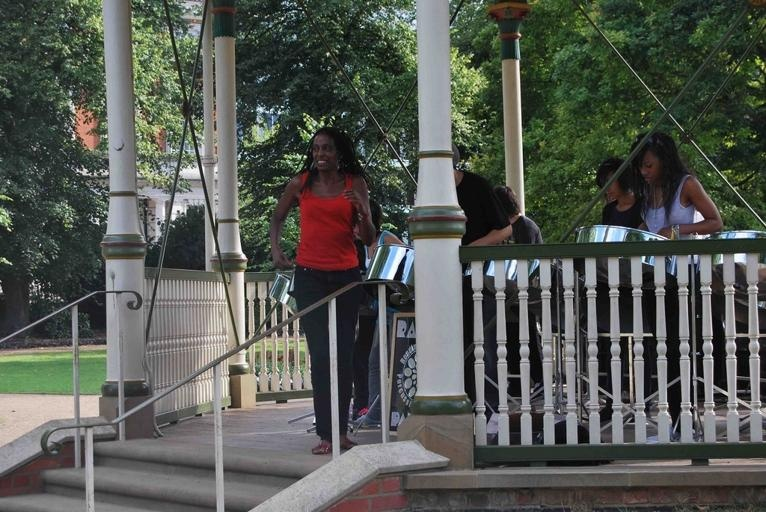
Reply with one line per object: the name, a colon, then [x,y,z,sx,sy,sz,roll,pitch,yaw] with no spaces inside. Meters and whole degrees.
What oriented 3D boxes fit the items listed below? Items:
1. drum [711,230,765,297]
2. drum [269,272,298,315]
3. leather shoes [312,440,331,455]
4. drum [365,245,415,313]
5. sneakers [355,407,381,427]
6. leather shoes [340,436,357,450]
drum: [5.509,0.125,26.661,0.812,1.058,1.162,-2,0,10]
drum: [-1.571,0.527,27.768,0.458,0.396,0.492,16,-1,-43]
leather shoes: [-0.965,2.954,26.735,0.300,0.219,0.146,-1,0,1]
drum: [0.090,0.277,26.738,0.754,1.030,0.872,-2,0,-1]
sneakers: [-0.289,2.617,27.669,0.247,0.208,0.458,2,0,-36]
leather shoes: [-0.555,2.886,26.799,0.257,0.220,0.647,-1,0,-1]
